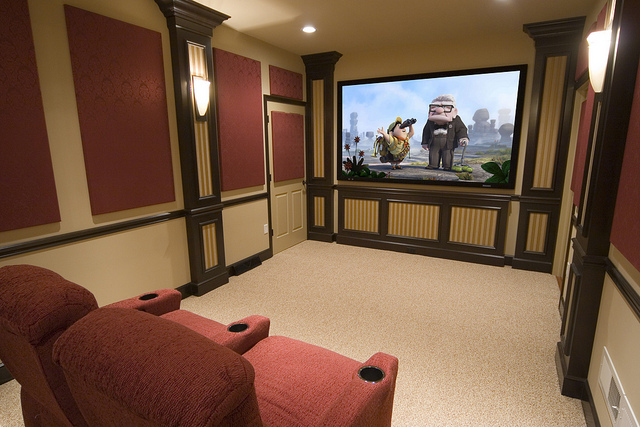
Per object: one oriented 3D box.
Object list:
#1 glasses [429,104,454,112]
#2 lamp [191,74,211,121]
[{"bbox_3d":[1.308,-1.141,4.317,0.256,0.080,0.021,8,16,28],"label":"glasses"},{"bbox_3d":[-1.027,-1.007,3.456,0.186,0.345,0.047,10,17,20],"label":"lamp"}]
